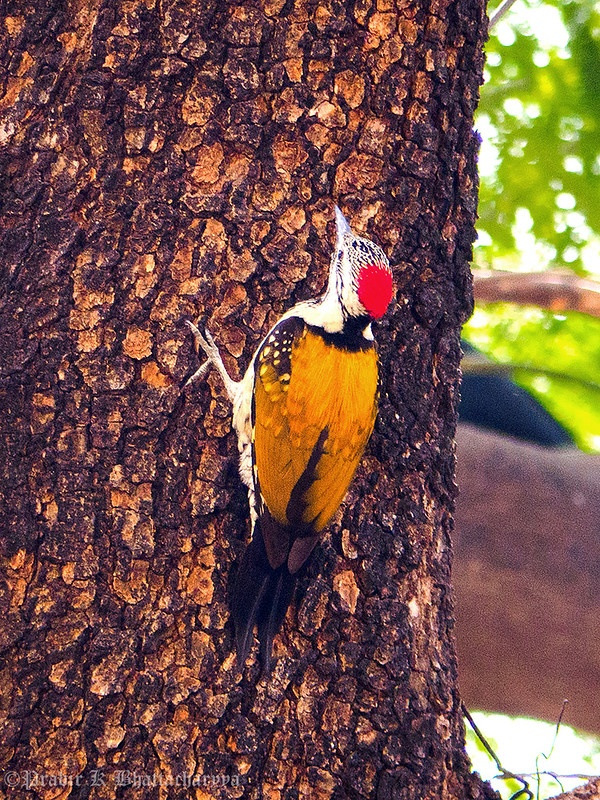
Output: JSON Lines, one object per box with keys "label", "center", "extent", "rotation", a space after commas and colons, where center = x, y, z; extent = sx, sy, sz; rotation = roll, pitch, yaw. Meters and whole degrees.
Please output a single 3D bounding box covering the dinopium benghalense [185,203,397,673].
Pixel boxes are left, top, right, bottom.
{"label": "dinopium benghalense", "center": [0.073, 0.110, 3.645], "extent": [0.623, 1.424, 0.456], "rotation": [-5, -14, 37]}
